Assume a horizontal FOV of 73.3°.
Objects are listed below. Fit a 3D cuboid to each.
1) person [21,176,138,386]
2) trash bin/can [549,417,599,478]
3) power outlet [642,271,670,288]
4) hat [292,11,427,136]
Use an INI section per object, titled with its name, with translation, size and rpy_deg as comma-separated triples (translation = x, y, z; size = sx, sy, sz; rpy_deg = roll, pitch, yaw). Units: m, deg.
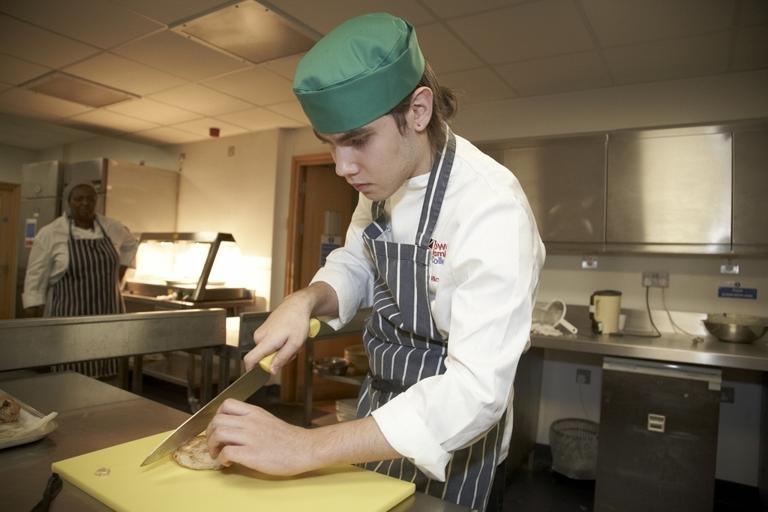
[person]
translation = -2.452, -0.033, 4.103
size = 0.724, 1.037, 0.536
rpy_deg = -4, 15, -35
[trash bin/can]
translation = 1.367, 1.397, 3.755
size = 0.397, 0.270, 0.374
rpy_deg = 1, -1, -1
[power outlet]
translation = 1.977, 0.176, 3.764
size = 0.165, 0.107, 0.039
rpy_deg = 2, 6, 25
[hat]
translation = -0.043, -0.579, 1.869
size = 0.351, 0.458, 0.242
rpy_deg = 41, -13, 28
